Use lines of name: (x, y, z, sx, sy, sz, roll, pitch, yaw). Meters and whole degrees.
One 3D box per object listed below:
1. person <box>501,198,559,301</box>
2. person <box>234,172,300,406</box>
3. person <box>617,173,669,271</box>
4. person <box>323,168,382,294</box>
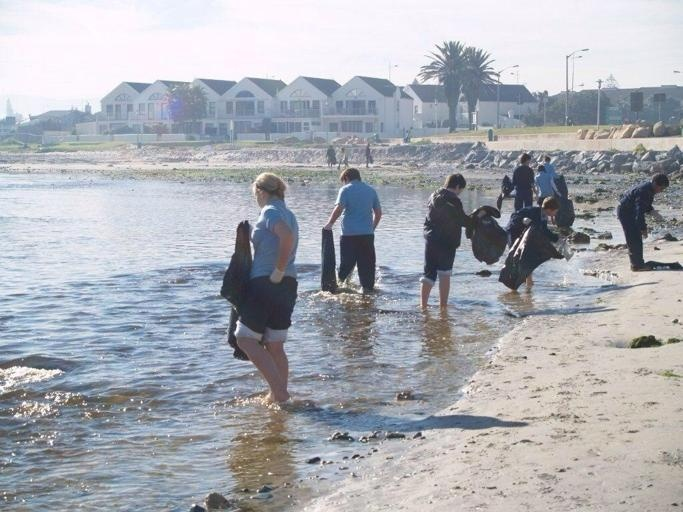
person: (3.314, -0.205, 17.655, 1.047, 1.668, 0.751, 8, 18, 32)
person: (-0.856, 0.413, 12.461, 0.680, 2.749, 0.798, 7, 18, 28)
person: (5.311, -0.619, 18.329, 0.792, 1.925, 1.337, 2, 15, 13)
person: (0.233, -0.424, 17.293, 0.851, 2.213, 1.234, -2, 15, 1)
